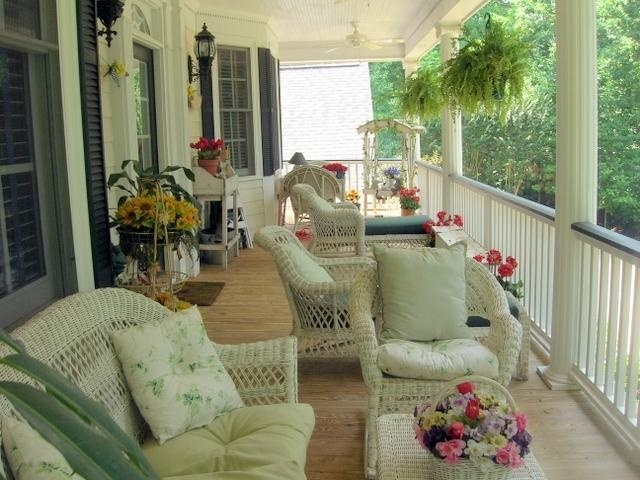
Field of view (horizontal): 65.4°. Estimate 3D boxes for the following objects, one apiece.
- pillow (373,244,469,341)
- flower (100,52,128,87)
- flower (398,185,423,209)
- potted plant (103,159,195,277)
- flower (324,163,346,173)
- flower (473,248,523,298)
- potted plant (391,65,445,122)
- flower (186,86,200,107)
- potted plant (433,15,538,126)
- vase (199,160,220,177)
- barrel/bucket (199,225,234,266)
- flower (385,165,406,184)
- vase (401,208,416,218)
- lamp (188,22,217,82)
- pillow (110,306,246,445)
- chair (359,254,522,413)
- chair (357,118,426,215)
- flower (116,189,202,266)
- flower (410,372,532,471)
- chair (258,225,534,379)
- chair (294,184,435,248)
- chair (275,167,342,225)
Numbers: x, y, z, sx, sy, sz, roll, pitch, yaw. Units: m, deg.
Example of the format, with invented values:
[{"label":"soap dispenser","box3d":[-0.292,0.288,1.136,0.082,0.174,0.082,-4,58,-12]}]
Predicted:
[{"label":"pillow","box3d":[0.532,0.288,2.644,0.433,0.467,0.155,-1,-18,2]},{"label":"flower","box3d":[-1.647,-1.367,4.006,0.189,0.240,0.268,-5,13,-14]},{"label":"flower","box3d":[1.386,-0.649,7.850,0.354,0.270,0.363,2,-16,-23]},{"label":"potted plant","box3d":[-1.224,-0.128,3.516,0.536,0.695,0.610,-3,-6,28]},{"label":"flower","box3d":[0.242,-1.180,8.217,0.328,0.217,0.339,5,0,-7]},{"label":"flower","box3d":[1.211,0.225,3.361,0.316,0.397,0.280,-1,-7,5]},{"label":"potted plant","box3d":[1.386,-1.986,6.718,0.544,0.601,0.525,6,18,-9]},{"label":"flower","box3d":[-1.546,-1.755,6.093,0.111,0.266,0.484,-3,13,-6]},{"label":"potted plant","box3d":[1.255,-1.385,3.934,0.467,0.691,0.601,21,23,18]},{"label":"vase","box3d":[-1.303,-0.844,5.846,0.190,0.156,0.196,-3,8,-10]},{"label":"barrel/bucket","box3d":[-1.294,0.076,6.161,0.493,0.400,0.461,1,3,0]},{"label":"flower","box3d":[1.364,-1.187,8.902,0.277,0.396,0.231,-6,3,-7]},{"label":"vase","box3d":[1.347,-0.434,7.586,0.264,0.213,0.276,1,6,3]},{"label":"lamp","box3d":[-1.359,-2.135,5.701,0.301,0.603,0.872,-7,14,-20]},{"label":"pillow","box3d":[-0.595,0.524,1.997,0.136,0.451,0.444,-40,-12,32]},{"label":"chair","box3d":[0.608,0.456,2.809,0.821,0.872,0.786,0,-12,0]},{"label":"chair","box3d":[1.384,-1.327,9.061,1.086,1.516,1.047,7,9,9]},{"label":"flower","box3d":[-1.128,-0.084,3.503,0.539,0.525,0.519,4,-4,8]},{"label":"flower","box3d":[0.581,0.662,1.940,0.371,0.319,0.346,-1,6,6]},{"label":"chair","box3d":[0.363,0.321,3.488,1.524,0.900,0.973,0,10,10]},{"label":"chair","box3d":[0.500,-0.180,5.703,1.188,0.628,0.816,-2,12,-2]},{"label":"chair","box3d":[-0.208,-0.707,7.528,0.919,1.085,0.969,2,26,8]}]
